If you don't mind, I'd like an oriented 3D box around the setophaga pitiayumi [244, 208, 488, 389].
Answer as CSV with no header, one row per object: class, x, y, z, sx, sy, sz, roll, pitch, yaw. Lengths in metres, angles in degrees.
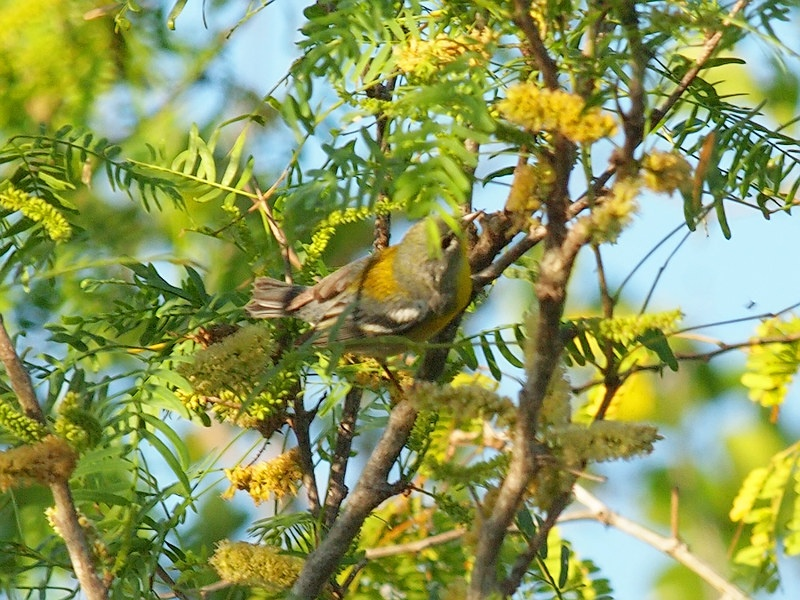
setophaga pitiayumi,-0.055,-0.051,4.744,0.970,0.436,0.639,12,-79,11
